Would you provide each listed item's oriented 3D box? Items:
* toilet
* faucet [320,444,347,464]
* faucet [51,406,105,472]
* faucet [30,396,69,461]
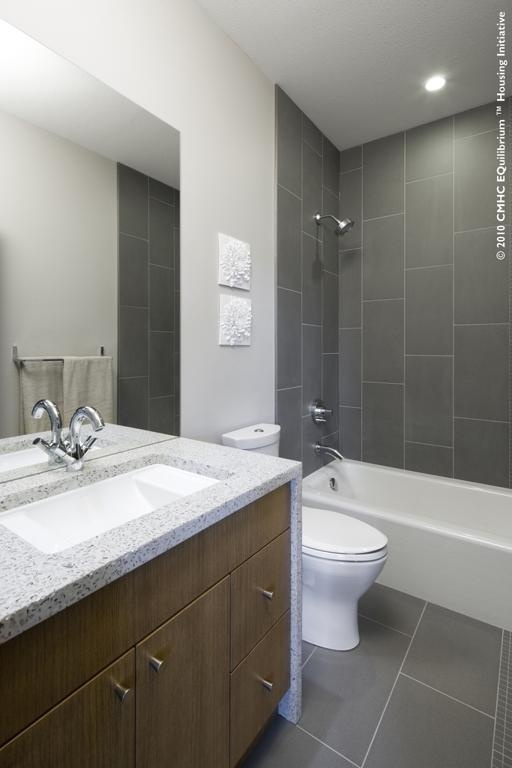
[{"bbox_3d":[0.247,0.594,2.196,0.735,1.180,0.431,-1,-1,37],"label":"toilet"},{"bbox_3d":[0.426,0.398,2.911,0.072,0.091,0.217,-1,4,-30],"label":"faucet"},{"bbox_3d":[-0.451,0.149,1.312,0.103,0.199,0.103,22,11,26],"label":"faucet"},{"bbox_3d":[-0.526,0.131,1.296,0.065,0.036,0.177,2,55,-38],"label":"faucet"}]
